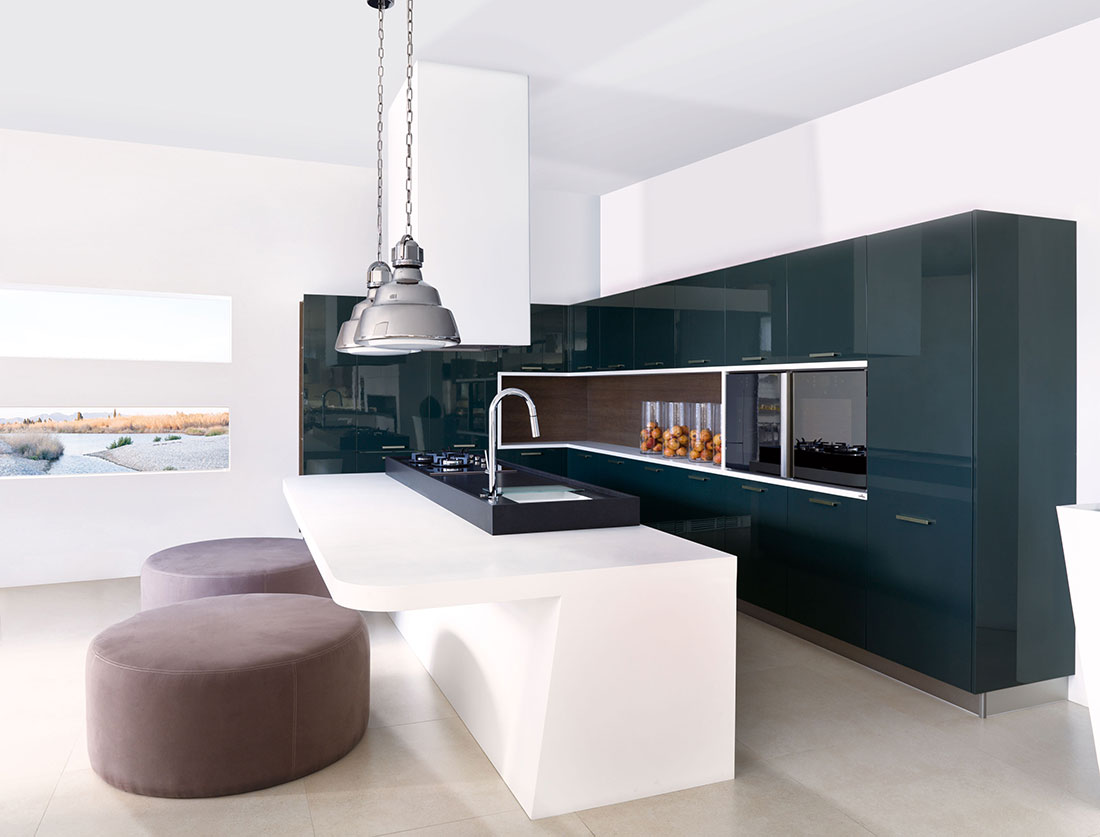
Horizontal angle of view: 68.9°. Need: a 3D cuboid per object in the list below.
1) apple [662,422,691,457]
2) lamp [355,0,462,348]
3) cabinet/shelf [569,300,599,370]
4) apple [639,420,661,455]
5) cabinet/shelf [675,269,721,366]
[{"bbox_3d":[0.972,0.167,6.256,0.186,0.226,0.224,1,8,5],"label":"apple"},{"bbox_3d":[-0.714,-1.222,3.912,0.469,1.779,1.119,-1,8,-8],"label":"lamp"},{"bbox_3d":[0.254,-0.711,7.056,0.116,0.577,0.456,-4,9,-24],"label":"cabinet/shelf"},{"bbox_3d":[0.809,0.162,6.502,0.201,0.234,0.205,1,0,10],"label":"apple"},{"bbox_3d":[1.037,-0.697,5.652,0.231,0.630,0.725,0,-1,-13],"label":"cabinet/shelf"}]
